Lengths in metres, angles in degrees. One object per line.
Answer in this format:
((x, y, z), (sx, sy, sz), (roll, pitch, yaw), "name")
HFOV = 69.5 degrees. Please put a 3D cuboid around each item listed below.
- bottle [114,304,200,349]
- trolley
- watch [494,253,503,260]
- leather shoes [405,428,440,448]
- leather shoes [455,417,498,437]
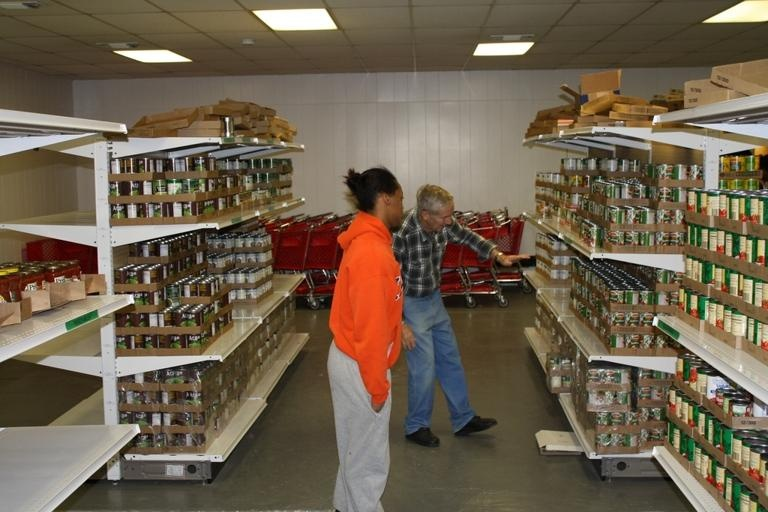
((-1.671, 0.526, 4.242), (0.510, 0.169, 0.418), (0, 2, 0), "bottle")
((0.155, -0.031, 9.198), (4.060, 1.196, 1.895), (0, 8, 0), "trolley")
((0.993, -0.002, 4.684), (0.066, 0.052, 0.062), (-5, 28, -38), "watch")
((0.351, 1.556, 4.774), (0.311, 0.096, 0.131), (-1, 0, 29), "leather shoes")
((0.814, 1.507, 4.906), (0.352, 0.117, 0.100), (-17, 15, 5), "leather shoes")
